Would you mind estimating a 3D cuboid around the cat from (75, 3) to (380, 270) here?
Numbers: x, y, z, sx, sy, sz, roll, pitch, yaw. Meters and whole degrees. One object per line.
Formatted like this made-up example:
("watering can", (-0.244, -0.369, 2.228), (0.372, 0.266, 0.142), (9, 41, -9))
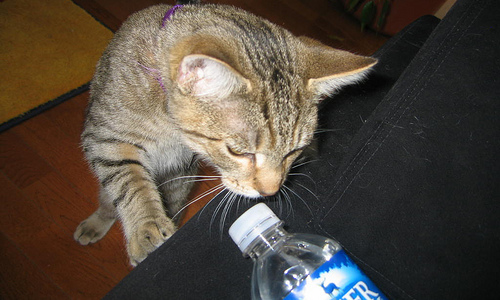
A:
("cat", (-0.277, -0.283, 1.800), (0.894, 0.988, 1.285), (-17, 54, -30))
